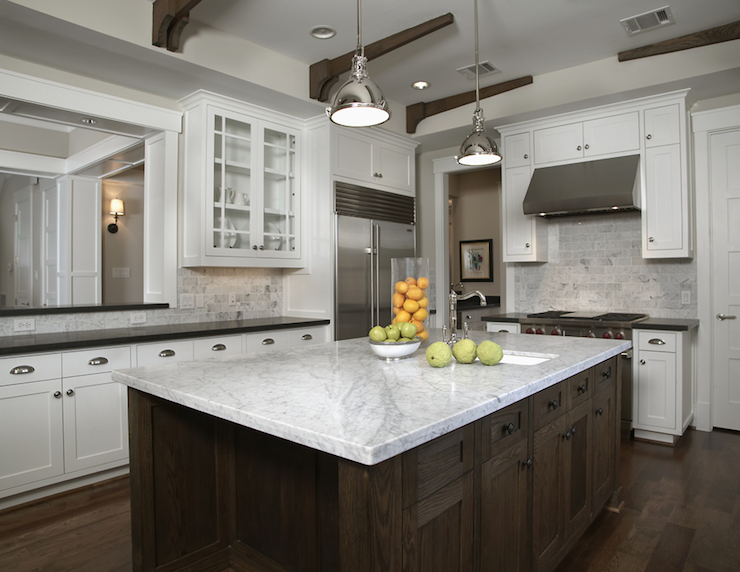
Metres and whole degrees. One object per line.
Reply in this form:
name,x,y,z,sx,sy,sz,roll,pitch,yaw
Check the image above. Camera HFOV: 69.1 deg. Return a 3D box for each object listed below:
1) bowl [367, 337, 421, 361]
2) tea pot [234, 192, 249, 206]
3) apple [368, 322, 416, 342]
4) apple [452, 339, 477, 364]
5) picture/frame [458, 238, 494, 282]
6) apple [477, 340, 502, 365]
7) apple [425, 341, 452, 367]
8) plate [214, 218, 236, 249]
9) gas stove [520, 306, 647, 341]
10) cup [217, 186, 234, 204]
bowl,0.132,0.339,2.922,0.270,0.114,0.251,-1,5,0
tea pot,-1.133,-0.764,4.791,0.096,0.137,0.146,-7,-8,44
apple,0.121,0.250,2.890,0.220,0.098,0.107,-3,-4,-5
apple,0.489,0.340,2.794,0.122,0.123,0.112,0,6,10
picture/frame,1.628,-0.408,8.164,0.677,0.828,0.057,-1,-2,41
apple,0.608,0.345,2.755,0.121,0.125,0.132,0,6,8
apple,0.350,0.342,2.747,0.101,0.103,0.134,-32,-4,15
plate,-1.238,-0.457,4.660,0.122,0.271,0.290,1,6,18
gas stove,1.938,0.345,4.907,1.029,0.174,0.619,3,7,36
cup,-1.247,-0.782,4.674,0.071,0.142,0.198,2,6,31
